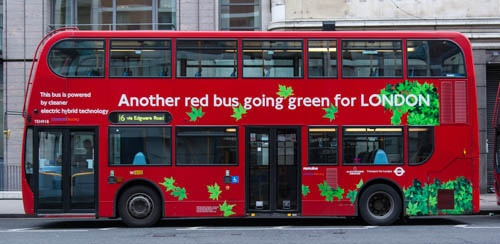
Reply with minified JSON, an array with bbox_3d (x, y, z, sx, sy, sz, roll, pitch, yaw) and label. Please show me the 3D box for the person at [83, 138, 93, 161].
[{"bbox_3d":[-8.176,1.332,40.167,0.522,0.978,0.272,-3,14,-7],"label":"person"}]
